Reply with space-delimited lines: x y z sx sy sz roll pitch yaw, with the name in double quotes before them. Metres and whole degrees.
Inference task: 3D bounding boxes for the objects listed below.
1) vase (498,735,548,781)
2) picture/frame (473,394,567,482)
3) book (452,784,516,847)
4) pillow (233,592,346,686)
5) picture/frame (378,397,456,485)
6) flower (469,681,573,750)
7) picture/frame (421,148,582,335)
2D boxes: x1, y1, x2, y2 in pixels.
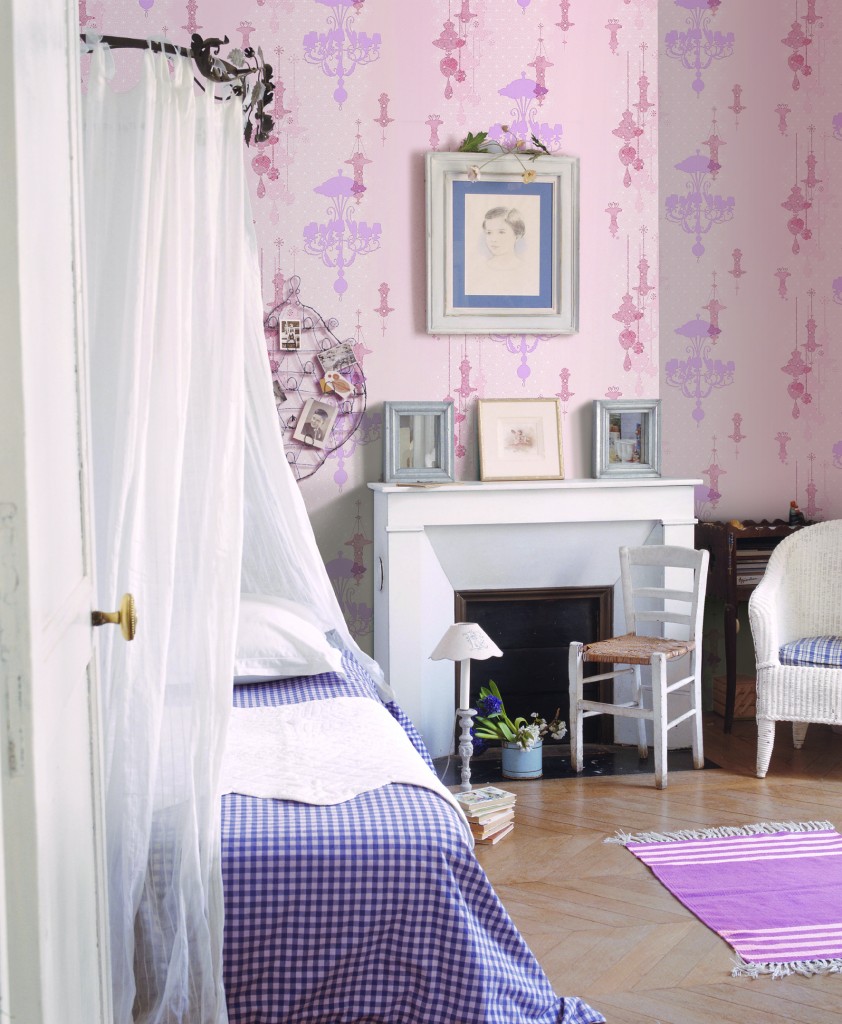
"vase" 0.351 0.824 3.749 0.123 0.087 0.121 0 -1 -8
"picture/frame" 0.354 -0.266 4.119 0.330 0.308 0.032 0 -10 -12
"book" 0.170 0.849 3.183 0.195 0.072 0.164 1 4 33
"pillow" -0.356 0.338 2.933 0.260 0.084 0.280 6 7 -13
"picture/frame" -0.014 -0.252 4.046 0.325 0.367 0.028 0 -1 -10
"flower" 0.324 0.735 3.859 0.329 0.265 0.258 6 9 42
"picture/frame" 0.271 -1.006 4.083 0.697 0.808 0.058 0 1 -12
